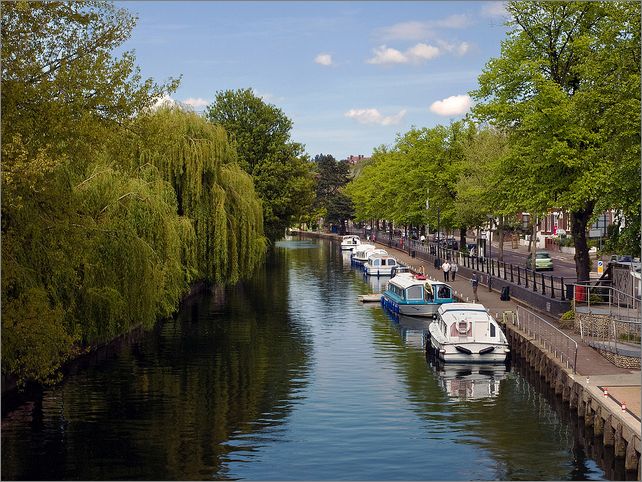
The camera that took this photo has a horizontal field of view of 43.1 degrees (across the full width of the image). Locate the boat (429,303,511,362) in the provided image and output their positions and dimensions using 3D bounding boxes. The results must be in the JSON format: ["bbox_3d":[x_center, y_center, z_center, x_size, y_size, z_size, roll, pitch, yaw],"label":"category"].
[{"bbox_3d":[7.643,4.995,43.714,3.371,2.517,4.715,-2,8,-17],"label":"boat"}]

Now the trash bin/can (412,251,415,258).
[{"bbox_3d":[10.980,1.503,96.246,0.312,0.854,1.119,1,7,6],"label":"trash bin/can"}]

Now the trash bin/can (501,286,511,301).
[{"bbox_3d":[12.585,3.546,55.390,0.552,1.006,1.184,4,8,25],"label":"trash bin/can"}]

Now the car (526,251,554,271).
[{"bbox_3d":[20.273,1.878,74.783,1.599,1.433,2.861,0,10,8],"label":"car"}]

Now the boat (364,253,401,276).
[{"bbox_3d":[6.343,2.636,84.969,2.958,1.896,2.497,-2,8,-21],"label":"boat"}]

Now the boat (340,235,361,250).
[{"bbox_3d":[4.695,0.217,127.714,2.866,1.966,5.845,-1,0,-1],"label":"boat"}]
